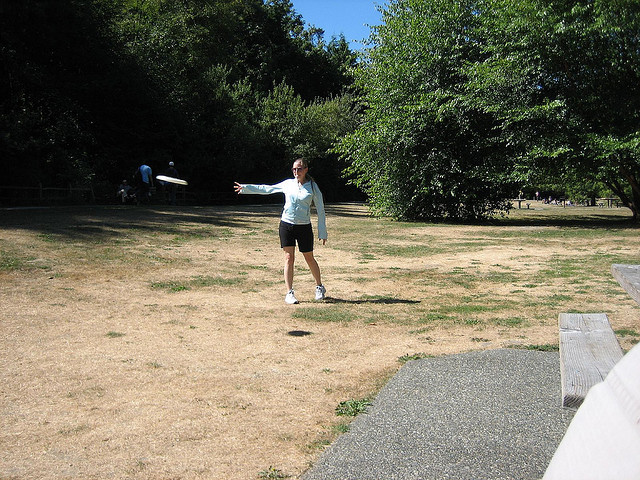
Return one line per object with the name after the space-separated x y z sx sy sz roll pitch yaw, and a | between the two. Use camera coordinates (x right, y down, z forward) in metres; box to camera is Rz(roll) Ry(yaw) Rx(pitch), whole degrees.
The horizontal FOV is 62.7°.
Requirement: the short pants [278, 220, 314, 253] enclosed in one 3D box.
-0.373 -0.079 8.568 0.708 0.717 0.421 0 4 -2 | short pants

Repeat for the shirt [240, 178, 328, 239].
-0.548 -0.486 8.493 1.467 1.131 0.358 -3 18 -12 | shirt

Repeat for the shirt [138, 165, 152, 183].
-8.315 -3.102 24.984 0.458 0.785 0.398 -3 3 -30 | shirt

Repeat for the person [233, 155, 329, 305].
-0.469 -0.188 8.953 1.161 2.464 1.317 -2 2 0 | person

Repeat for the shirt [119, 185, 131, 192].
-10.019 -2.646 26.856 0.368 0.350 0.711 -4 3 -34 | shirt
